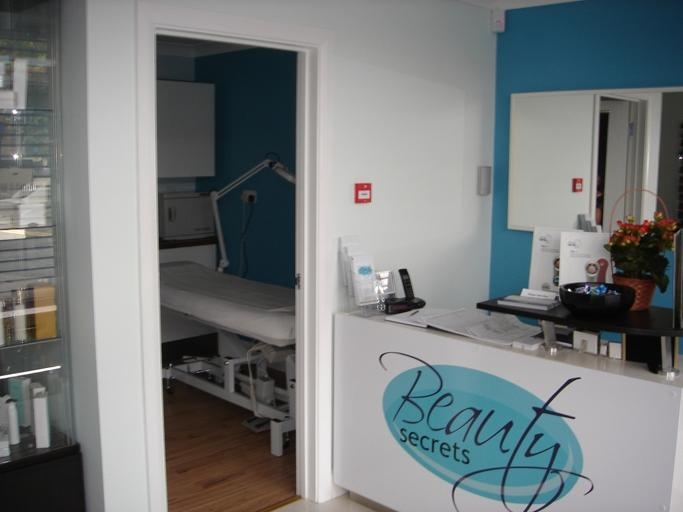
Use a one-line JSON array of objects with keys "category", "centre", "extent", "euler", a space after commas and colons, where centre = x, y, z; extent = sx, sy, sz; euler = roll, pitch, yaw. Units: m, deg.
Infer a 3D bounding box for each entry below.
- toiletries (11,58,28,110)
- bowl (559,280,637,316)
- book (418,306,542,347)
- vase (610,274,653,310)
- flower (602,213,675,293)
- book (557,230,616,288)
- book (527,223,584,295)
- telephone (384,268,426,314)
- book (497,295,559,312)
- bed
[{"category": "toiletries", "centre": [-1.514, -0.802, 2.556], "extent": [0.071, 0.269, 0.062], "euler": [-2, -18, -26]}, {"category": "bowl", "centre": [1.172, 0.197, 2.494], "extent": [0.294, 0.128, 0.287], "euler": [-1, 6, 0]}, {"category": "book", "centre": [0.759, 0.361, 2.861], "extent": [0.541, 0.075, 0.420], "euler": [3, 8, 32]}, {"category": "vase", "centre": [1.358, 0.166, 2.546], "extent": [0.155, 0.120, 0.153], "euler": [2, 1, 0]}, {"category": "flower", "centre": [1.399, -0.021, 2.558], "extent": [0.281, 0.355, 0.142], "euler": [2, 7, 27]}, {"category": "book", "centre": [1.214, 0.018, 2.684], "extent": [0.266, 0.271, 0.064], "euler": [1, -2, 19]}, {"category": "book", "centre": [1.117, 0.008, 2.939], "extent": [0.310, 0.315, 0.072], "euler": [9, 7, 42]}, {"category": "telephone", "centre": [0.360, 0.190, 3.251], "extent": [0.268, 0.264, 0.185], "euler": [-1, 11, -5]}, {"category": "book", "centre": [0.909, 0.229, 2.656], "extent": [0.286, 0.026, 0.204], "euler": [1, 7, 21]}, {"category": "bed", "centre": [-0.852, 0.746, 4.362], "extent": [1.756, 0.940, 0.731], "euler": [8, 10, 43]}]
